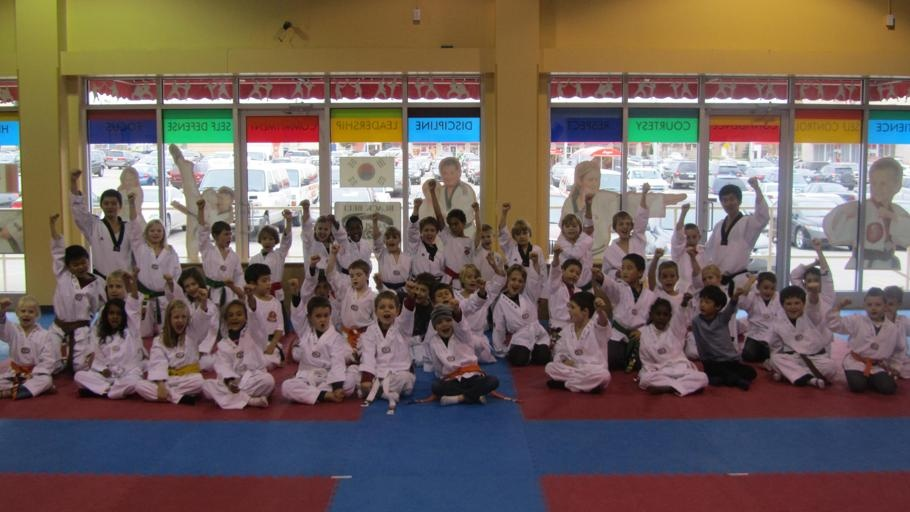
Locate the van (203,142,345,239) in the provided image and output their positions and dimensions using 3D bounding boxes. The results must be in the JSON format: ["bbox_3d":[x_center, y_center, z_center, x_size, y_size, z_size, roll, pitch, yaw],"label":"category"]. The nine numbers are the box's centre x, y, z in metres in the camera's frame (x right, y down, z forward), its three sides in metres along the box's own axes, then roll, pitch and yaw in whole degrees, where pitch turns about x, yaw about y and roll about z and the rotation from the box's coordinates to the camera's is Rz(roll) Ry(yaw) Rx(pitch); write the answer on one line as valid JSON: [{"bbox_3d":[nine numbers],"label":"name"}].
[{"bbox_3d":[-3.465,-1.380,15.419,1.473,1.149,2.054,0,4,10],"label":"van"}]

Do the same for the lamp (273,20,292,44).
[{"bbox_3d":[-3.258,-4.246,15.335,0.406,0.287,0.115,-42,17,20],"label":"lamp"}]

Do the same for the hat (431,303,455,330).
[{"bbox_3d":[-0.167,0.869,11.944,0.281,0.292,0.357,-13,-32,-10],"label":"hat"}]
